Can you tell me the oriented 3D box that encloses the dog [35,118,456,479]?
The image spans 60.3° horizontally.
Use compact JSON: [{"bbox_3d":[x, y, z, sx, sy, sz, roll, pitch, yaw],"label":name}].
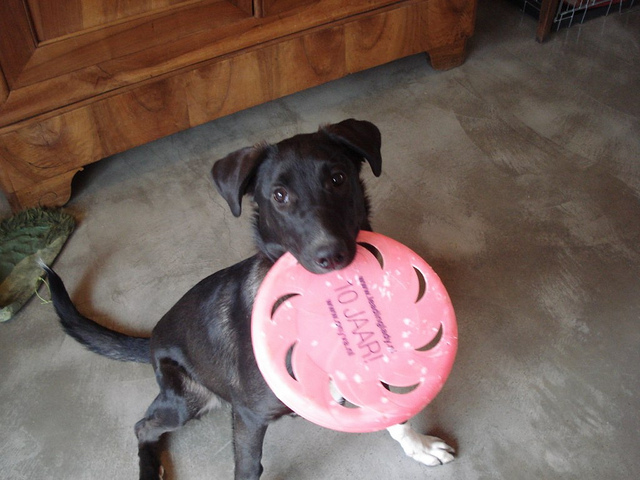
[{"bbox_3d":[-0.617,0.055,3.443,2.400,2.000,1.230,9,32,35],"label":"dog"}]
